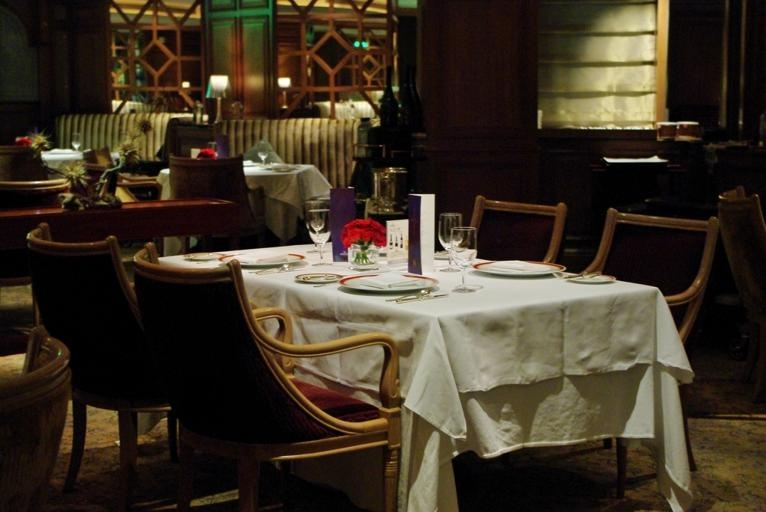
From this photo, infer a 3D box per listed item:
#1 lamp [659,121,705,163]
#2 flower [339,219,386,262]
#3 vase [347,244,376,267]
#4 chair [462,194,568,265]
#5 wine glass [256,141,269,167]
[{"bbox_3d":[2.744,-1.065,6.317,0.385,0.350,0.589,3,15,22],"label":"lamp"},{"bbox_3d":[-0.072,-0.069,2.956,0.169,0.189,0.174,1,3,25],"label":"flower"},{"bbox_3d":[-0.079,0.001,2.929,0.094,0.075,0.098,1,0,-14],"label":"vase"},{"bbox_3d":[0.707,-0.143,3.628,0.352,0.552,0.431,4,-6,28],"label":"chair"},{"bbox_3d":[-1.264,-1.101,7.180,0.112,0.222,0.314,-5,14,-10],"label":"wine glass"}]
